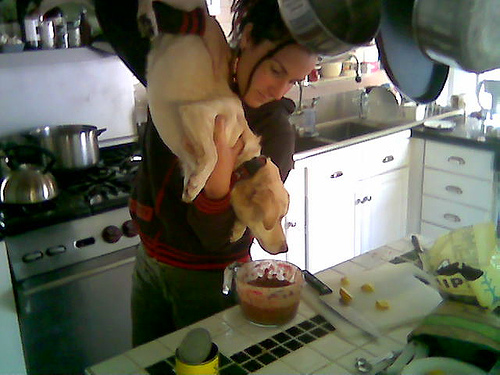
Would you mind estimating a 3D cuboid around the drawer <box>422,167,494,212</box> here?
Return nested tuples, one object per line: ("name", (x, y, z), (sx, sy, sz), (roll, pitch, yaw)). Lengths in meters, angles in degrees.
("drawer", (1.293, -0.025, 2.436), (0.485, 0.199, 0.493), (21, 15, 30))

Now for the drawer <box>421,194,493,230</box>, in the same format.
("drawer", (1.310, 0.143, 2.463), (0.225, 0.105, 0.170), (24, 26, 36))

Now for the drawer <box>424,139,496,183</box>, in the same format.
("drawer", (1.360, -0.175, 2.508), (0.241, 0.116, 0.337), (-2, 14, -29))

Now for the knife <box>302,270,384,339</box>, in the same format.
("knife", (0.212, 0.266, 0.939), (0.061, 0.019, 0.344), (-11, 17, -13))

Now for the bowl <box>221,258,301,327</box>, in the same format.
("bowl", (0.028, 0.245, 0.925), (0.187, 0.106, 0.151), (3, 13, 5))

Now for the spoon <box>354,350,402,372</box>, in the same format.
("spoon", (0.249, 0.340, 0.758), (0.083, 0.025, 0.033), (-21, 15, -6))

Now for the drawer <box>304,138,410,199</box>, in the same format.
("drawer", (0.657, -0.120, 2.488), (0.517, 0.123, 0.475), (-14, 20, -37))
